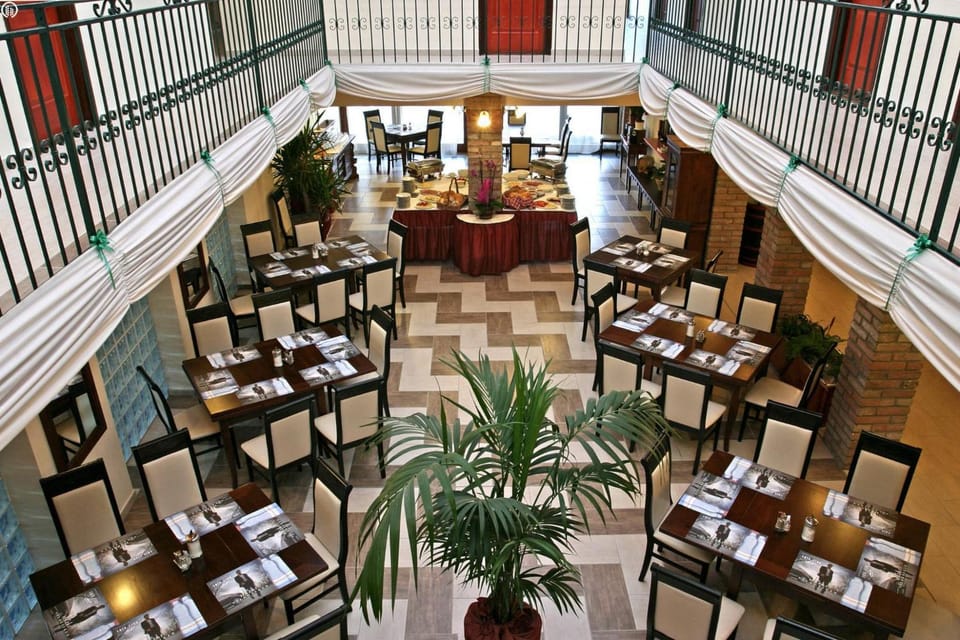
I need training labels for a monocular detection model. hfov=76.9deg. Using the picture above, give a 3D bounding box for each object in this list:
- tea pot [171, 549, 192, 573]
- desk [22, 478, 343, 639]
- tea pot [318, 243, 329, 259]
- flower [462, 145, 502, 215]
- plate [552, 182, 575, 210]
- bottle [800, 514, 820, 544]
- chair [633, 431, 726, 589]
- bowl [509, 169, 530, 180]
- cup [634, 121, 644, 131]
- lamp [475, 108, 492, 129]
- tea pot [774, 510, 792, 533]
[{"bbox_3d":[-2.552,2.044,5.193,0.145,0.204,0.146,2,29,-1],"label":"tea pot"},{"bbox_3d":[-2.585,2.187,5.114,1.728,0.437,1.118,-24,53,-21],"label":"desk"},{"bbox_3d":[-2.537,-1.122,9.788,0.189,0.074,0.306,-8,42,-12],"label":"tea pot"},{"bbox_3d":[0.095,-2.625,11.311,0.625,1.083,1.114,-2,28,-2],"label":"flower"},{"bbox_3d":[1.611,-2.393,11.744,0.275,0.327,0.696,-19,28,-23],"label":"plate"},{"bbox_3d":[2.941,1.870,5.391,0.131,0.213,0.145,1,33,4],"label":"bottle"},{"bbox_3d":[1.937,1.909,5.911,0.865,1.553,0.829,14,42,25],"label":"chair"},{"bbox_3d":[0.890,-3.193,13.451,0.383,0.153,0.404,-2,27,1],"label":"bowl"},{"bbox_3d":[3.996,-4.836,15.098,0.178,0.146,0.196,-1,33,2],"label":"cup"},{"bbox_3d":[0.077,-3.698,11.159,0.271,0.337,0.105,-7,28,-11],"label":"lamp"},{"bbox_3d":[2.726,1.809,5.447,0.132,0.184,0.047,20,-5,-4],"label":"tea pot"}]
